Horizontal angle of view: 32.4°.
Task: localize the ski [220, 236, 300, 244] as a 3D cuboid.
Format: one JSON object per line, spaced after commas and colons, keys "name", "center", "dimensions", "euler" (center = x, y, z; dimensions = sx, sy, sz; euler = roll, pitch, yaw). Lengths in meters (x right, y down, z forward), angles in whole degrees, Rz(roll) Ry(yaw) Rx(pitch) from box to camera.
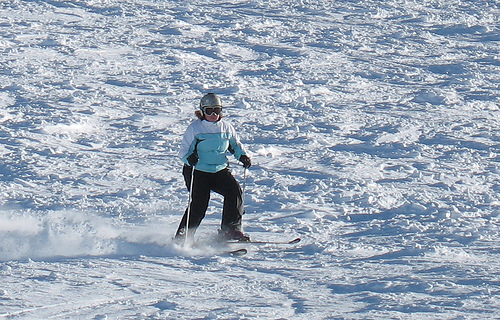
{"name": "ski", "center": [0.274, 1.463, 15.532], "dimensions": [1.523, 0.101, 0.259], "euler": [3, 3, -20]}
